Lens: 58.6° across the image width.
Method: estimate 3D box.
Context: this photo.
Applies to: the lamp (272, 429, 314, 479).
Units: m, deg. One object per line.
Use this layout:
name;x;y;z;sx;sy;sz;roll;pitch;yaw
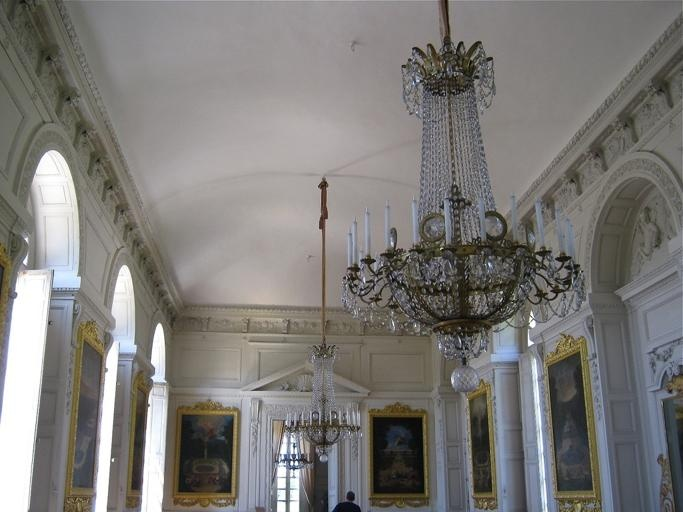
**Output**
lamp;-1.500;6.281;19.361;0.965;1.490;1.039;11;-23;-33
